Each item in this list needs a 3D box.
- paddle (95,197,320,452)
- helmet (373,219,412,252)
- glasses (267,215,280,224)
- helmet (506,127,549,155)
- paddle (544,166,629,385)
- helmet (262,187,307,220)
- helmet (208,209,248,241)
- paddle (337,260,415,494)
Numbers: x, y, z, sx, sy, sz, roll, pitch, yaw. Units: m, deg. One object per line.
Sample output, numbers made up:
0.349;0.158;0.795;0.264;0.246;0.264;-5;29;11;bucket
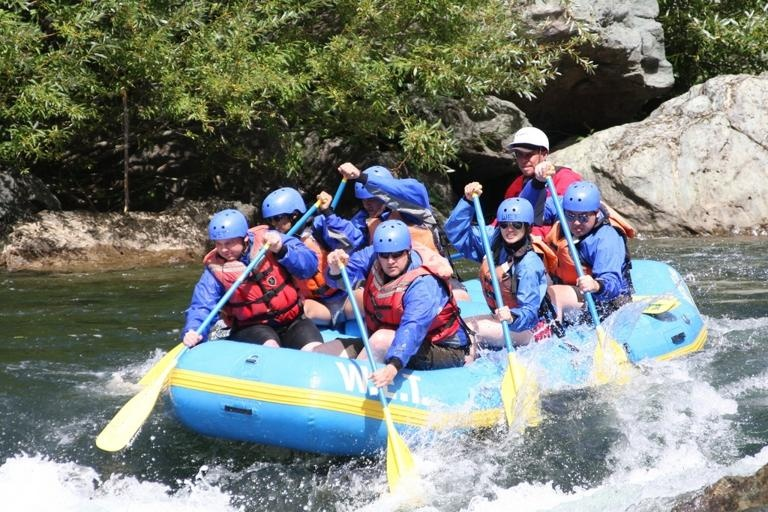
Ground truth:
-2.029;0.809;9.307;3.972;0.443;0.206;-49;11;-16;paddle
0.060;-0.189;8.242;0.274;0.275;0.362;-1;-16;4;helmet
-1.258;-0.431;9.415;0.109;0.052;0.147;-4;-9;-6;glasses
1.694;-1.390;9.970;0.452;0.319;0.372;-3;7;29;helmet
2.130;0.202;9.227;0.440;2.598;0.213;-18;-28;6;paddle
-1.133;-0.590;9.454;0.422;0.243;0.336;-6;6;-43;helmet
-1.629;-0.266;8.762;0.305;0.295;0.375;-9;-32;22;helmet
-0.010;1.289;8.153;0.362;1.691;1.104;-7;7;-6;paddle
